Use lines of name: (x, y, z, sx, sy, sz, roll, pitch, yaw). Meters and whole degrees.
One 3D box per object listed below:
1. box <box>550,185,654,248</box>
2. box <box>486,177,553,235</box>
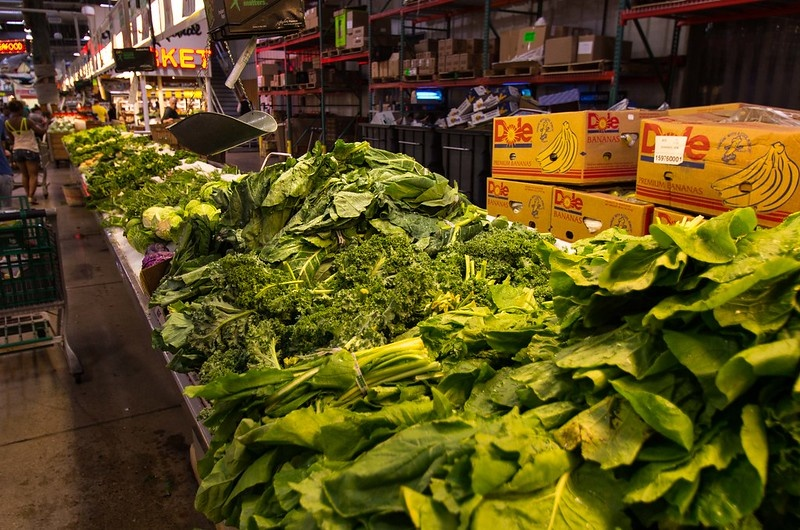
box: (1.340, -0.287, 3.521, 0.731, 0.357, 0.375, 9, -12, -12)
box: (0.982, -0.507, 3.827, 0.522, 0.312, 0.517, 1, 8, -8)
